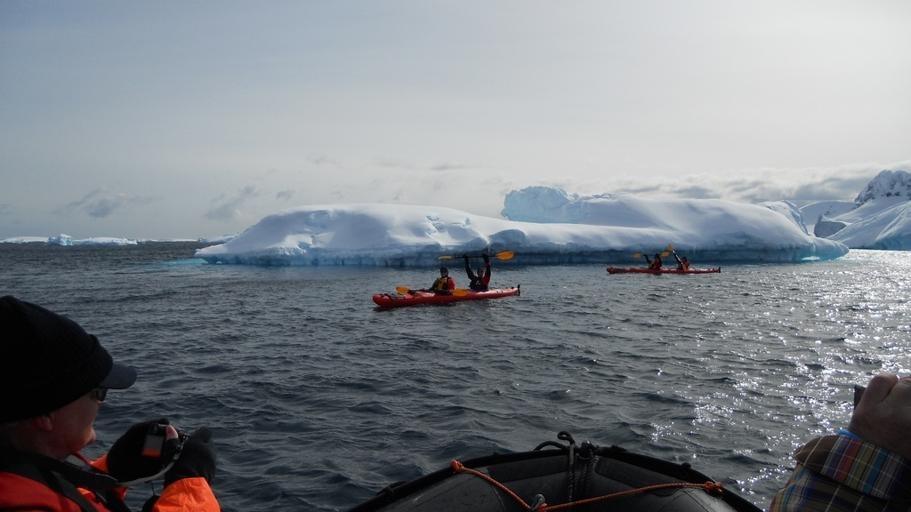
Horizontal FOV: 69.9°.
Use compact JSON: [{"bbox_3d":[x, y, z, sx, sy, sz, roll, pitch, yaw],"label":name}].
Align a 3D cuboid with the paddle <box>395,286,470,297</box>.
[{"bbox_3d":[-0.777,1.203,22.137,1.812,0.202,0.323,-1,20,-11],"label":"paddle"}]
